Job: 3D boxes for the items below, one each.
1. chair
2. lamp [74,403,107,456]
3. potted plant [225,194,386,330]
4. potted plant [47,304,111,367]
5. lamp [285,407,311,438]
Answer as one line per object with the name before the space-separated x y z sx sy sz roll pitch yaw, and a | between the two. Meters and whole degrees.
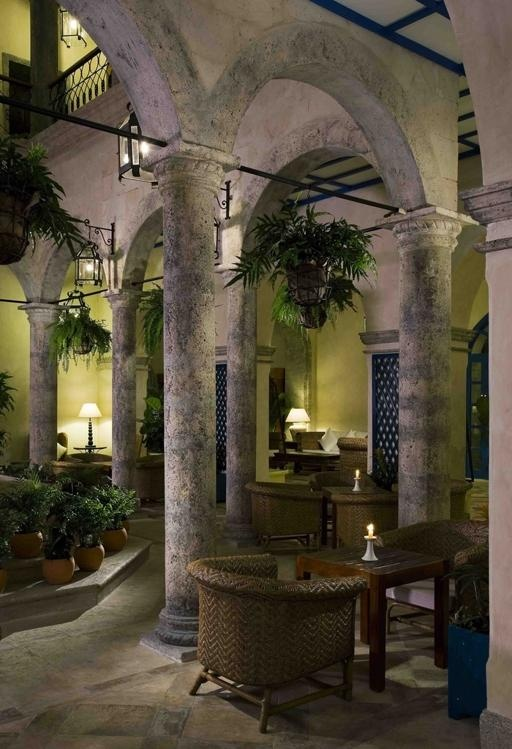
chair | 0.321 1.091 2.938 1.248 0.634 0.763 -4 3 -37
lamp | -3.521 1.118 13.023 0.618 1.073 0.824 0 -6 -19
potted plant | 0.408 -0.864 4.831 0.997 0.793 0.893 -5 9 -33
potted plant | -2.484 -0.572 8.569 0.786 0.756 0.550 -7 -7 39
lamp | 1.070 1.208 15.359 0.650 0.725 0.641 -1 3 -14
